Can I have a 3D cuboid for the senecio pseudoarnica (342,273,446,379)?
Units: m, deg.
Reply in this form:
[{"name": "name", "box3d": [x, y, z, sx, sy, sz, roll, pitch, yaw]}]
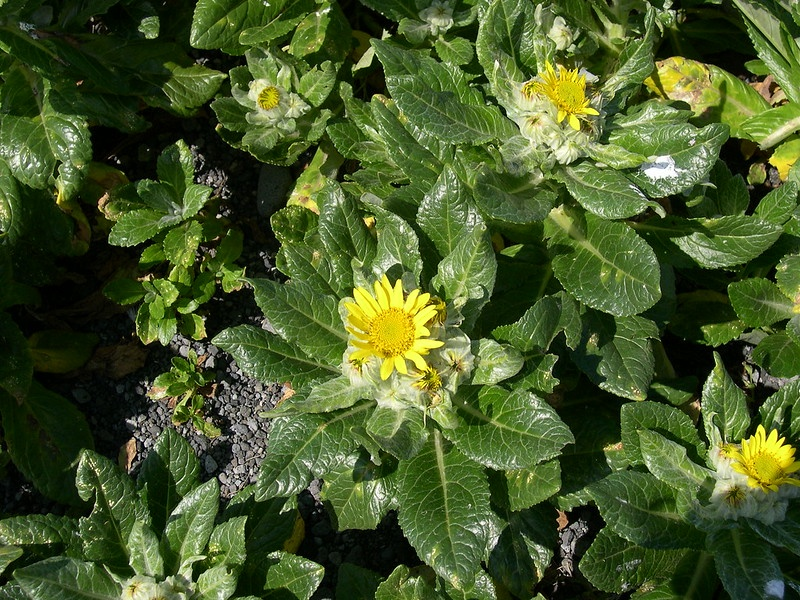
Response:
[{"name": "senecio pseudoarnica", "box3d": [-0.026, 0.103, 2.456, 0.343, 0.343, 0.376, 2, 55, -16]}]
